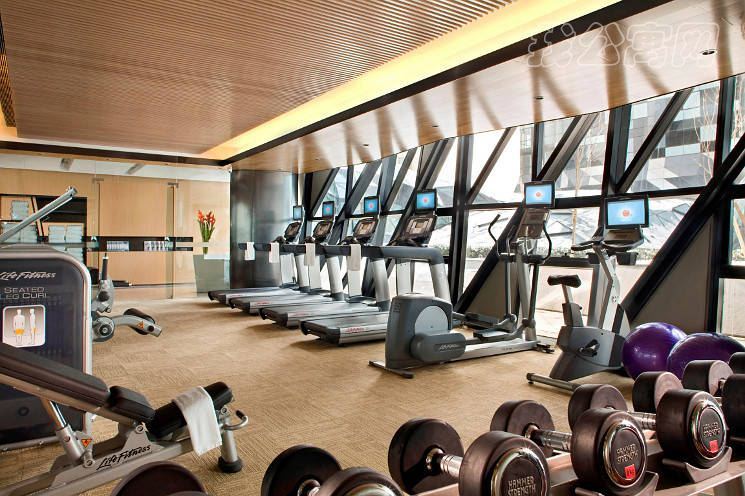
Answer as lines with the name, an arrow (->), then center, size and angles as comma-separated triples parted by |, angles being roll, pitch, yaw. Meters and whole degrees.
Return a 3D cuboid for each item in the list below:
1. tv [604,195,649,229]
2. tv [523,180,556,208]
tv -> 2.554, -0.356, 4.385 | 0.145, 0.311, 0.396 | 5, -6, -40
tv -> 1.969, -0.630, 5.141 | 0.404, 0.337, 0.221 | 3, 3, 43
